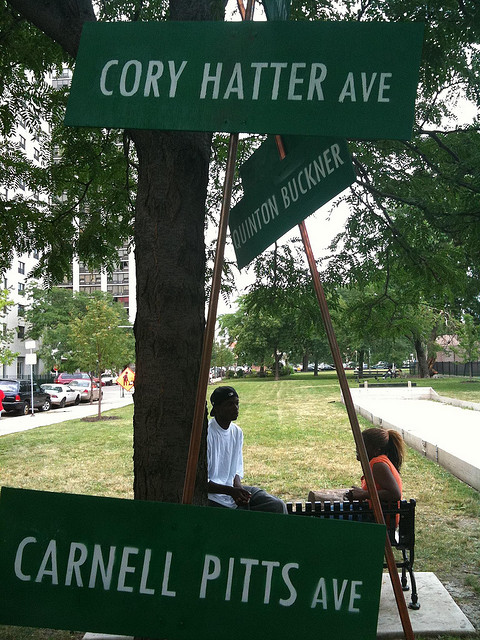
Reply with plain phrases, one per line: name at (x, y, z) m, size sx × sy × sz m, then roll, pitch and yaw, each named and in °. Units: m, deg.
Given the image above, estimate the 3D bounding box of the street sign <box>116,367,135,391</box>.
street sign at (-3.955, 2.059, 23.875) m, size 0.515 × 0.734 × 1.514 m, roll 9°, pitch -3°, yaw -10°

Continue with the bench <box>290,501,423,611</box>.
bench at (0.586, 1.422, 4.294) m, size 0.946 × 0.629 × 0.407 m, roll -10°, pitch -26°, yaw 26°

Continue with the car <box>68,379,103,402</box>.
car at (-7.160, 3.156, 31.784) m, size 1.056 × 0.851 × 2.511 m, roll 1°, pitch 3°, yaw 1°

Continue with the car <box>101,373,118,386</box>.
car at (-11.566, 5.168, 61.215) m, size 1.284 × 1.061 × 5.773 m, roll 9°, pitch -3°, yaw -11°

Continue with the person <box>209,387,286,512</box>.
person at (0.039, 0.805, 4.283) m, size 0.524 × 0.671 × 0.879 m, roll 9°, pitch -3°, yaw 0°
